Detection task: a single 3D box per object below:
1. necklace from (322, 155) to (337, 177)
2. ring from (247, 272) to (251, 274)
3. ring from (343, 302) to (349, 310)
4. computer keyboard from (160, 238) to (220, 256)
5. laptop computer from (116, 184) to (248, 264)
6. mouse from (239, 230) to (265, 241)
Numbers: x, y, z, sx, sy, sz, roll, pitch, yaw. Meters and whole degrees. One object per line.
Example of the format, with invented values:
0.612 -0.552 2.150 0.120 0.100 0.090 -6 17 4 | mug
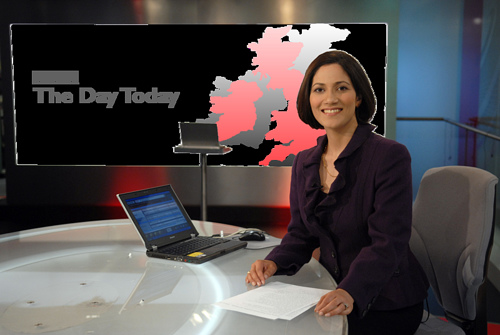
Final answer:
0.374 -0.003 1.733 0.029 0.081 0.117 -3 13 -12 | necklace
-0.005 0.428 1.460 0.011 0.011 0.012 0 -9 0 | ring
0.344 0.491 1.278 0.019 0.016 0.016 -8 15 -32 | ring
-0.284 0.376 1.705 0.134 0.017 0.267 11 16 39 | computer keyboard
-0.318 0.264 1.757 0.512 0.289 0.500 1 4 38 | laptop computer
0.006 0.347 1.862 0.095 0.035 0.055 1 -1 3 | mouse
